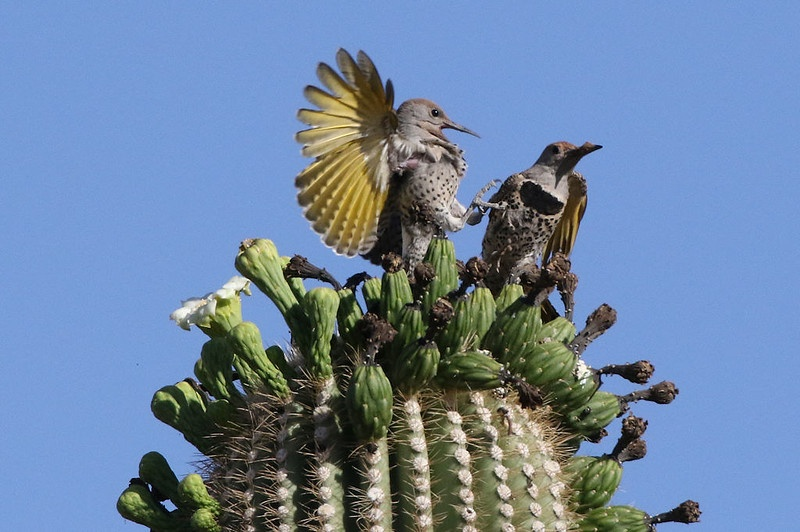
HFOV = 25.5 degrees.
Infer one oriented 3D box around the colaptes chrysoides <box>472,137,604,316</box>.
[{"bbox_3d":[1.035,-0.223,14.419,1.057,1.113,0.500,-31,-54,22],"label":"colaptes chrysoides"}]
